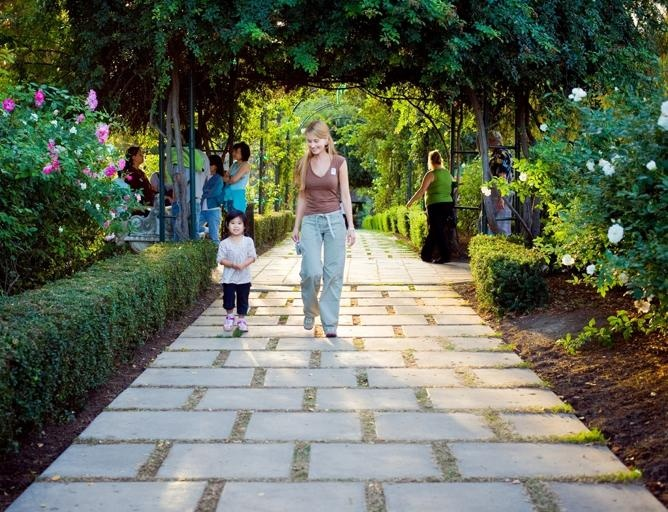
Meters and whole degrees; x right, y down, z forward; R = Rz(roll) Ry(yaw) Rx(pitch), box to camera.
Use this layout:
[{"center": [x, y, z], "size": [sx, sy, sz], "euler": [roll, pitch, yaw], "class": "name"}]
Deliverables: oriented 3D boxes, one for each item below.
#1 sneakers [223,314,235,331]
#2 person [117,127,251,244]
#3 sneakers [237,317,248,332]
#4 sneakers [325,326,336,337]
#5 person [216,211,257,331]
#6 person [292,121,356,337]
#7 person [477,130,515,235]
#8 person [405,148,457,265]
[{"center": [-1.044, 0.642, 5.858], "size": [0.070, 0.090, 0.208], "euler": [7, 22, -8], "class": "sneakers"}, {"center": [-2.031, -0.904, 8.557], "size": [0.911, 1.462, 1.852], "euler": [3, 9, 24], "class": "person"}, {"center": [-0.893, 0.660, 5.743], "size": [0.101, 0.114, 0.134], "euler": [-2, 8, -10], "class": "sneakers"}, {"center": [-0.032, 0.696, 5.552], "size": [0.114, 0.097, 0.077], "euler": [-2, 8, -9], "class": "sneakers"}, {"center": [-0.967, 0.128, 5.876], "size": [0.350, 1.151, 0.580], "euler": [-2, 8, -9], "class": "person"}, {"center": [-0.092, -0.196, 5.611], "size": [0.567, 1.852, 0.441], "euler": [0, 7, 4], "class": "person"}, {"center": [2.479, -1.118, 8.945], "size": [0.467, 1.551, 1.068], "euler": [2, 8, 16], "class": "person"}, {"center": [1.715, -0.824, 10.074], "size": [0.649, 1.913, 0.856], "euler": [1, 8, 12], "class": "person"}]
